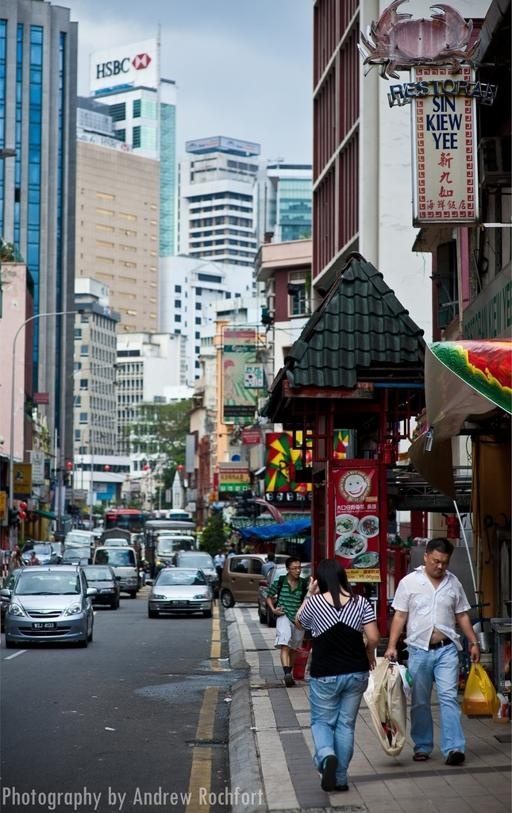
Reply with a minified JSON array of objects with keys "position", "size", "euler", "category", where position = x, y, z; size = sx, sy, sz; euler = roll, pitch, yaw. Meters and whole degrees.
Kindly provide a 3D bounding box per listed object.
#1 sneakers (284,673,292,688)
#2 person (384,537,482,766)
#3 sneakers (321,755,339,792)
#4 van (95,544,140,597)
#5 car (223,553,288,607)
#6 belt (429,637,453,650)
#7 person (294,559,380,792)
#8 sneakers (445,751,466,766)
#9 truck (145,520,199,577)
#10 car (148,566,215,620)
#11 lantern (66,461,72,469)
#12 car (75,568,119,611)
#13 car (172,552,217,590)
[{"position":[0.373,3.033,15.057],"size":[0.088,0.146,0.155],"euler":[0,-4,1],"category":"sneakers"},{"position":[1.233,1.706,9.293],"size":[0.587,1.492,0.658],"euler":[-1,-4,11],"category":"person"},{"position":[0.460,2.245,8.301],"size":[0.075,0.251,0.094],"euler":[-1,2,-4],"category":"sneakers"},{"position":[-4.443,5.402,44.996],"size":[1.009,1.373,2.121],"euler":[0,-9,-1],"category":"van"},{"position":[0.188,4.662,35.839],"size":[2.196,1.449,1.166],"euler":[-2,-10,28],"category":"car"},{"position":[1.274,1.626,9.306],"size":[0.157,0.078,0.041],"euler":[-1,-4,9],"category":"belt"},{"position":[0.537,1.698,8.582],"size":[0.482,1.436,0.643],"euler":[0,-3,2],"category":"person"},{"position":[1.342,2.353,9.117],"size":[0.061,0.089,0.195],"euler":[3,-30,-4],"category":"sneakers"},{"position":[-3.338,5.638,55.300],"size":[1.410,2.282,3.820],"euler":[0,-6,-7],"category":"truck"},{"position":[-1.691,4.398,31.789],"size":[1.102,1.150,2.611],"euler":[0,-12,-3],"category":"car"},{"position":[-15.472,4.854,112.945],"size":[0.474,0.849,0.540],"euler":[3,2,4],"category":"lantern"},{"position":[-4.109,4.634,35.410],"size":[1.118,1.279,2.669],"euler":[-1,-11,-2],"category":"car"},{"position":[-1.717,4.910,41.465],"size":[0.889,1.027,1.903],"euler":[0,-12,-7],"category":"car"}]
